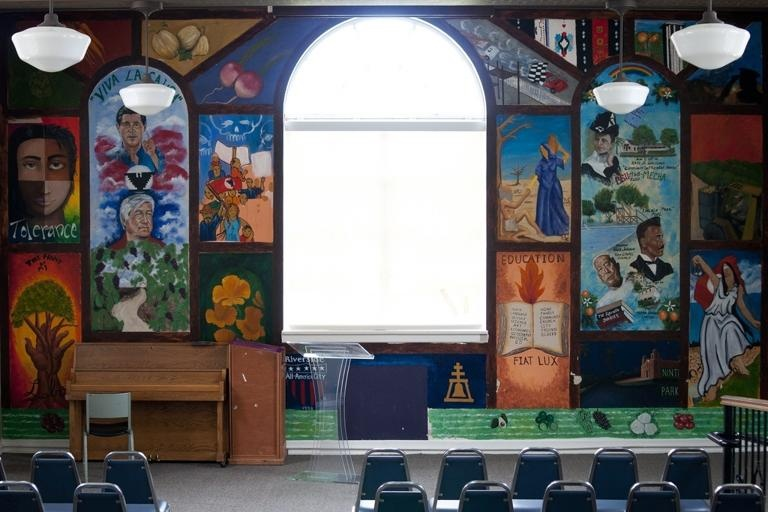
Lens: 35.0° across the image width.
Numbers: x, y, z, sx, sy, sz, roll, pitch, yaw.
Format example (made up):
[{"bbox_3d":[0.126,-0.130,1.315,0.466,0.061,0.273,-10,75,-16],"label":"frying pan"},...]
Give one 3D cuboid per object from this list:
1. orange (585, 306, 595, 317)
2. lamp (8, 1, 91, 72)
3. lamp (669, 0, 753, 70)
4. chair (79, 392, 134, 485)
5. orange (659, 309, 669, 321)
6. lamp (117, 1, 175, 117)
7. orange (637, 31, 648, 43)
[{"bbox_3d":[2.860,0.769,16.793,0.123,0.114,0.121,-3,-11,26],"label":"orange"},{"bbox_3d":[-3.743,-2.390,13.838,0.835,0.980,0.817,0,-3,-13],"label":"lamp"},{"bbox_3d":[3.742,-2.492,13.760,0.739,0.903,0.710,0,-7,17],"label":"lamp"},{"bbox_3d":[-3.584,2.310,15.707,0.672,1.146,1.367,-3,-2,-12],"label":"chair"},{"bbox_3d":[3.883,0.824,16.752,0.136,0.129,0.128,-7,-15,16],"label":"orange"},{"bbox_3d":[-3.119,-2.600,16.024,0.677,1.637,1.706,-3,-2,-9],"label":"lamp"},{"bbox_3d":[3.588,-3.037,16.860,0.135,0.126,0.072,6,1,4],"label":"orange"}]
